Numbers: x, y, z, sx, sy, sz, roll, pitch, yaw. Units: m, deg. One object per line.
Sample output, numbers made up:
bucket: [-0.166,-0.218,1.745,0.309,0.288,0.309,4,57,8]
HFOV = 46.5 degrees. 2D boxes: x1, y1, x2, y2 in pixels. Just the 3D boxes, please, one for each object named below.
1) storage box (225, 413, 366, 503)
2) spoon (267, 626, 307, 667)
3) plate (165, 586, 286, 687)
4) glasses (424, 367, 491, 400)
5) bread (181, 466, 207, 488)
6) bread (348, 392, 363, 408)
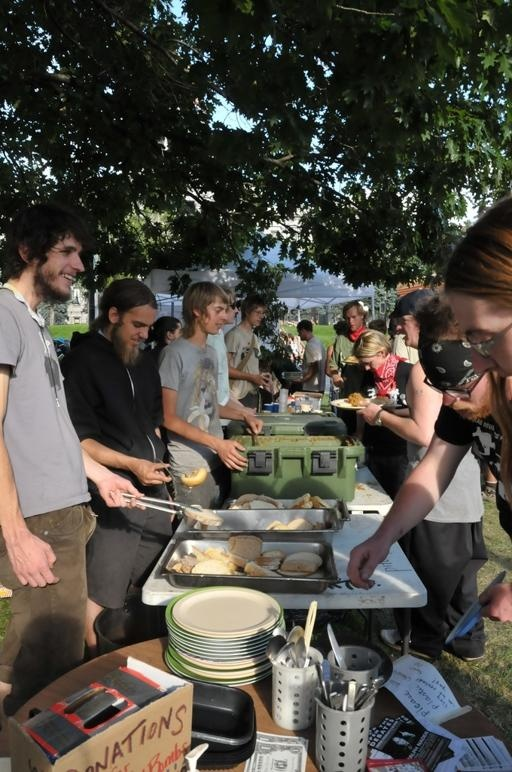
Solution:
storage box: [0.194,0.401,3.225,0.538,0.251,0.725,0,1,3]
spoon: [0.069,0.599,1.360,0.028,0.048,0.115,-18,-26,-29]
plate: [-0.083,0.598,1.539,0.239,0.087,0.229,1,7,-1]
glasses: [0.598,-0.015,1.821,0.127,0.038,0.122,-38,31,-25]
bread: [-0.320,0.482,3.068,0.135,0.062,0.132,-7,8,41]
bread: [0.732,0.100,4.322,0.112,0.052,0.108,4,31,0]
